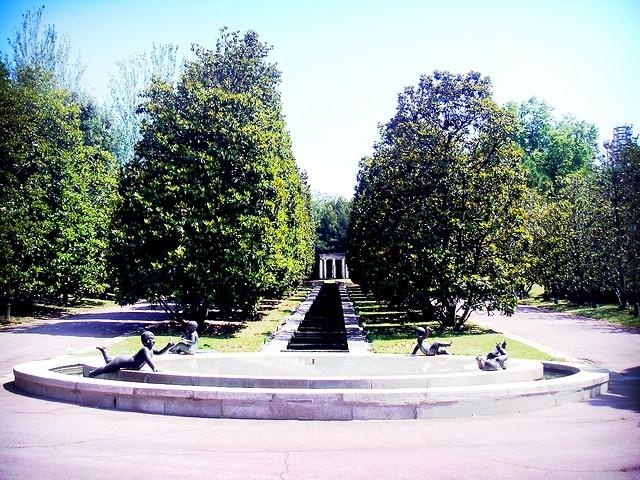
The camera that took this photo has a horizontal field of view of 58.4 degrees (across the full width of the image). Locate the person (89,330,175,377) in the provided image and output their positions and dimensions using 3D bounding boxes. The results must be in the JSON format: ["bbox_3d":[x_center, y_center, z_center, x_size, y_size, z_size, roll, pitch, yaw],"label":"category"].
[{"bbox_3d":[-4.480,2.697,13.523,1.831,1.104,0.877,-1,-11,-4],"label":"person"}]

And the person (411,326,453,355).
[{"bbox_3d":[2.892,2.601,14.905,0.967,0.711,0.620,-5,-4,-3],"label":"person"}]

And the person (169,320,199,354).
[{"bbox_3d":[-3.577,2.545,15.190,0.762,0.860,0.783,0,-1,7],"label":"person"}]

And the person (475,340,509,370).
[{"bbox_3d":[4.139,2.760,13.642,0.751,0.583,0.586,1,-1,-12],"label":"person"}]
